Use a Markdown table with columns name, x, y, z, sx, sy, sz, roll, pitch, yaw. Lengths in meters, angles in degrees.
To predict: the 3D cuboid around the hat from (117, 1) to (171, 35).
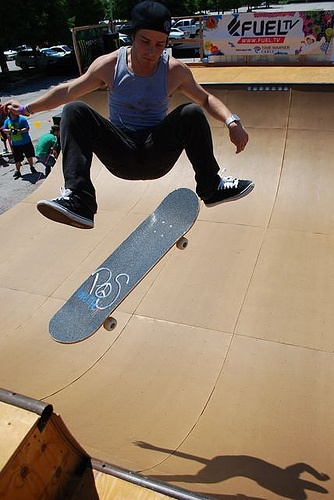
| name | x | y | z | sx | sy | sz | roll | pitch | yaw |
| --- | --- | --- | --- | --- | --- | --- | --- | --- | --- |
| hat | -0.111 | -1.515 | 2.549 | 0.271 | 0.208 | 0.282 | -26 | 33 | -29 |

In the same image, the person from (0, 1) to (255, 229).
| name | x | y | z | sx | sy | sz | roll | pitch | yaw |
| --- | --- | --- | --- | --- | --- | --- | --- | --- | --- |
| person | -0.227 | -0.890 | 2.777 | 1.535 | 1.470 | 0.727 | -19 | 30 | -18 |
